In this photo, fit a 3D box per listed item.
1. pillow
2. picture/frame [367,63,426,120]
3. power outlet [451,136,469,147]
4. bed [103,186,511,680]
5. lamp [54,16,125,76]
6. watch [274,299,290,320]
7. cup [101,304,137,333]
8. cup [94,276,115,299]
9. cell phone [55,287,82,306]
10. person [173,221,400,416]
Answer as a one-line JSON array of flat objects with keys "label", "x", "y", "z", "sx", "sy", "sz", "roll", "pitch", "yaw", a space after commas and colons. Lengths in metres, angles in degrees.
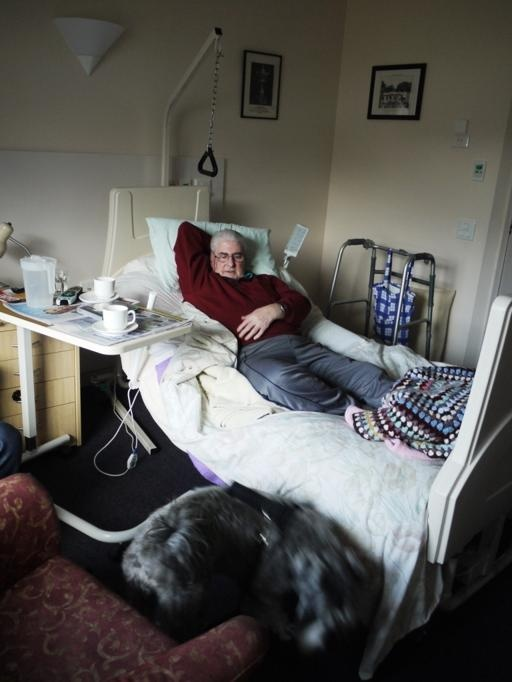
[{"label": "pillow", "x": -0.226, "y": -0.410, "z": 2.383, "sx": 0.472, "sy": 0.053, "sz": 0.287, "roll": 6, "pitch": 59, "yaw": -27}, {"label": "picture/frame", "x": 0.873, "y": -1.533, "z": 3.075, "sx": 0.029, "sy": 0.324, "sz": 0.398, "roll": -11, "pitch": 27, "yaw": -38}, {"label": "power outlet", "x": 1.154, "y": -1.112, "z": 2.822, "sx": 0.067, "sy": 0.044, "sz": 0.065, "roll": 6, "pitch": 57, "yaw": 19}, {"label": "bed", "x": 0.169, "y": 0.024, "z": 2.054, "sx": 1.090, "sy": 1.135, "sz": 1.827, "roll": -17, "pitch": 29, "yaw": -38}, {"label": "lamp", "x": -0.770, "y": -1.354, "z": 2.301, "sx": 0.116, "sy": 0.229, "sz": 0.299, "roll": 14, "pitch": 15, "yaw": 33}, {"label": "watch", "x": 0.113, "y": -0.137, "z": 2.186, "sx": 0.028, "sy": 0.053, "sz": 0.075, "roll": 5, "pitch": 53, "yaw": 14}, {"label": "cup", "x": -0.400, "y": -0.073, "z": 1.491, "sx": 0.106, "sy": 0.073, "sz": 0.079, "roll": 8, "pitch": 21, "yaw": 10}, {"label": "cup", "x": -0.535, "y": -0.178, "z": 1.729, "sx": 0.075, "sy": 0.063, "sz": 0.067, "roll": 7, "pitch": 9, "yaw": 42}, {"label": "cell phone", "x": -0.653, "y": -0.158, "z": 1.758, "sx": 0.039, "sy": 0.026, "sz": 0.121, "roll": 0, "pitch": 19, "yaw": -1}, {"label": "person", "x": 0.157, "y": -0.077, "z": 2.078, "sx": 0.496, "sy": 0.513, "sz": 1.251, "roll": -19, "pitch": 37, "yaw": -33}]
